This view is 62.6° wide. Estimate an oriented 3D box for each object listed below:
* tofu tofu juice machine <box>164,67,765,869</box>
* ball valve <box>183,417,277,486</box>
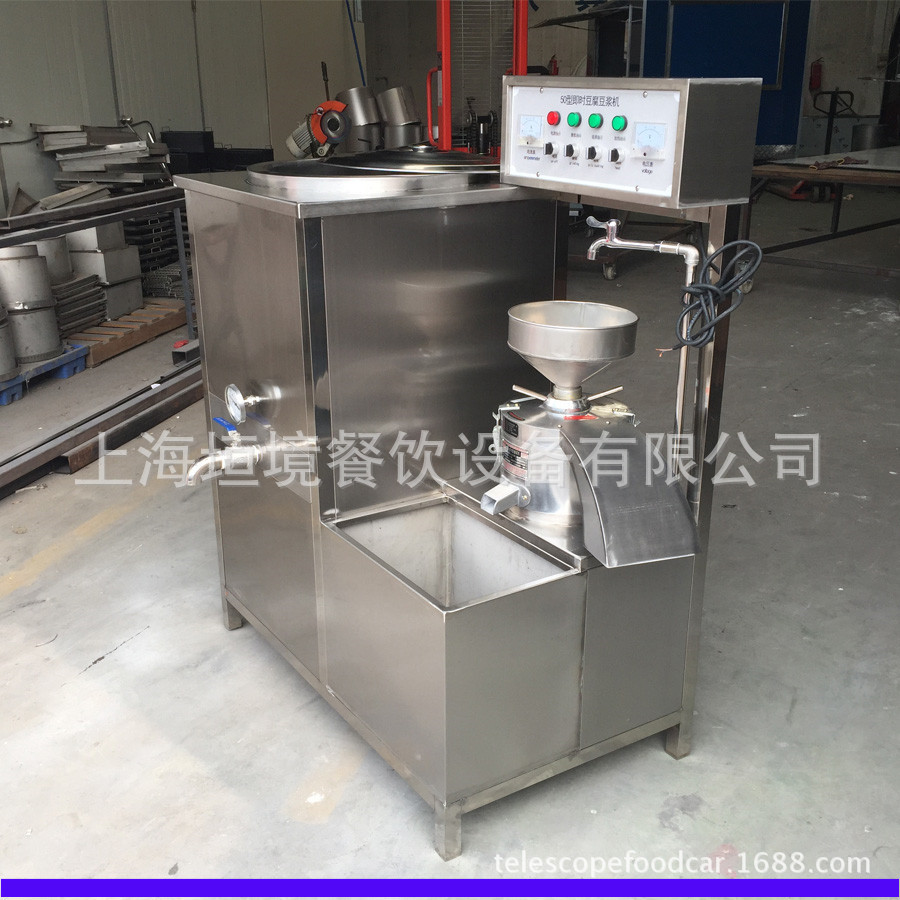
[{"bbox_3d":[-0.025,-0.087,1.550,0.762,1.200,1.301,-12,20,-34],"label":"tofu tofu juice machine"},{"bbox_3d":[-0.480,0.003,1.600,0.104,0.117,0.241,16,14,33],"label":"ball valve"}]
